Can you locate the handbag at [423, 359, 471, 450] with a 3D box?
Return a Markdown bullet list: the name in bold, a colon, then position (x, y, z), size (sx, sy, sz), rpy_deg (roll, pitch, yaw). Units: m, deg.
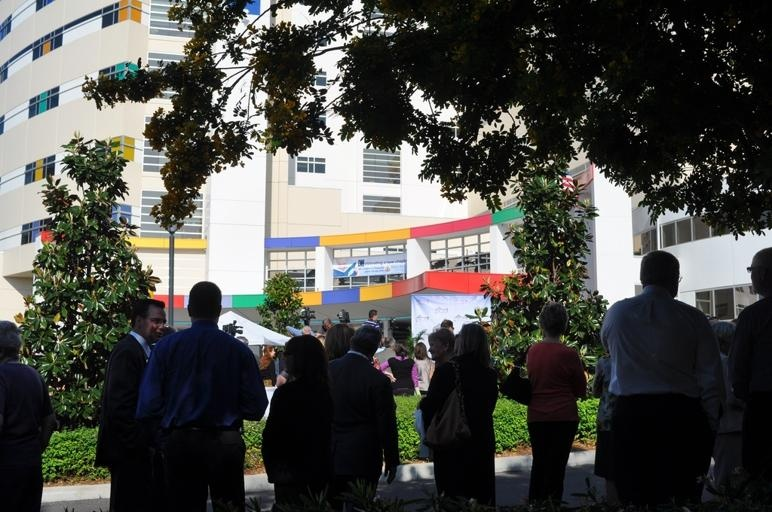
- **handbag**: position (0.677, 1.598, 9.491), size (0.256, 0.858, 0.652), rpy_deg (26, -41, -20)
